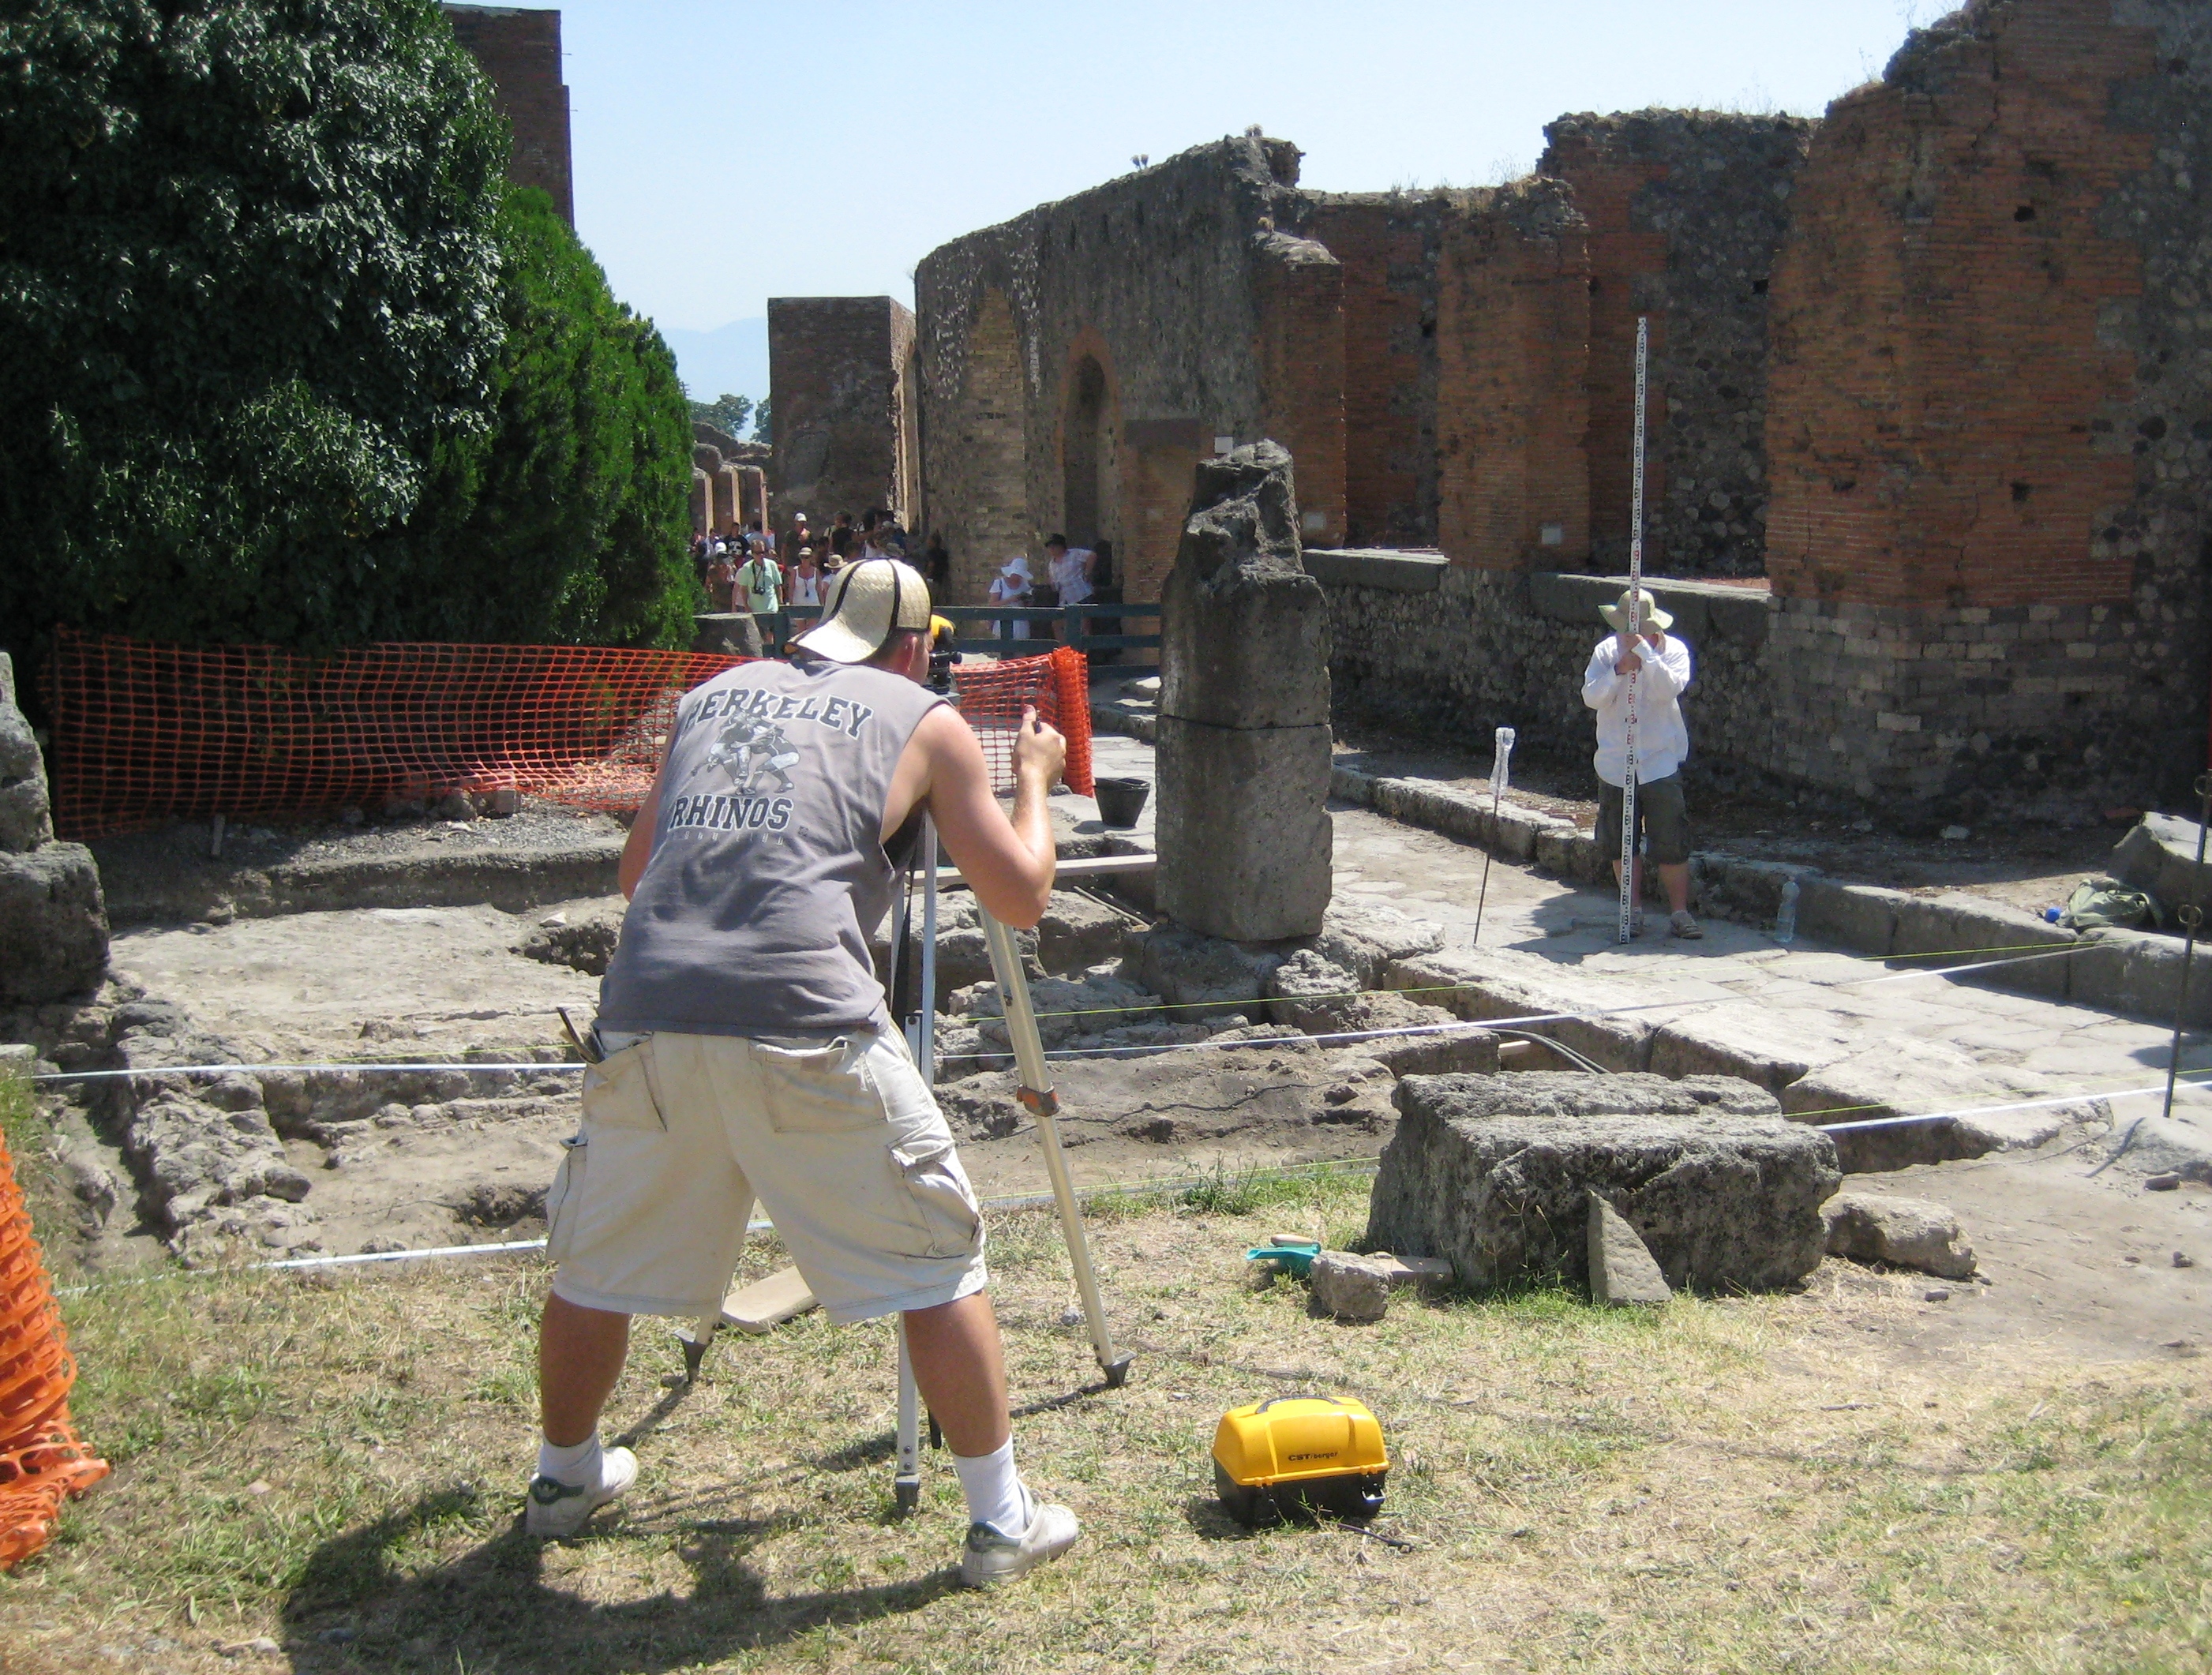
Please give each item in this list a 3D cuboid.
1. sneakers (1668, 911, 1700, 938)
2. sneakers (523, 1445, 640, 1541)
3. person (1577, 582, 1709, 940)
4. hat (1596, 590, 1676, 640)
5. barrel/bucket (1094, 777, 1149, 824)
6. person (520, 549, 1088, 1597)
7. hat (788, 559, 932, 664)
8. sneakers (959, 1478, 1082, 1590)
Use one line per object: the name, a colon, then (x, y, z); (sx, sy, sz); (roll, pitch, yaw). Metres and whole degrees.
sneakers: (2.877, 0.433, 10.965); (0.092, 0.122, 0.188); (-2, -2, -2)
sneakers: (-1.228, 1.541, 5.261); (0.111, 0.130, 0.295); (6, 14, 24)
person: (2.726, -0.425, 11.164); (0.560, 1.733, 1.053); (2, 11, 15)
hat: (2.691, -1.114, 11.191); (0.540, 0.211, 0.603); (1, 4, 6)
barrel/bucket: (0.132, -0.215, 13.440); (0.266, 0.220, 0.274); (3, 16, -1)
person: (-0.702, 0.558, 5.121); (1.279, 2.129, 0.677); (-1, 10, -2)
hat: (-0.490, -0.569, 5.341); (0.216, 0.175, 0.320); (-3, 27, -46)
sneakers: (-0.178, 1.588, 5.112); (0.122, 0.170, 0.348); (7, 11, 40)
